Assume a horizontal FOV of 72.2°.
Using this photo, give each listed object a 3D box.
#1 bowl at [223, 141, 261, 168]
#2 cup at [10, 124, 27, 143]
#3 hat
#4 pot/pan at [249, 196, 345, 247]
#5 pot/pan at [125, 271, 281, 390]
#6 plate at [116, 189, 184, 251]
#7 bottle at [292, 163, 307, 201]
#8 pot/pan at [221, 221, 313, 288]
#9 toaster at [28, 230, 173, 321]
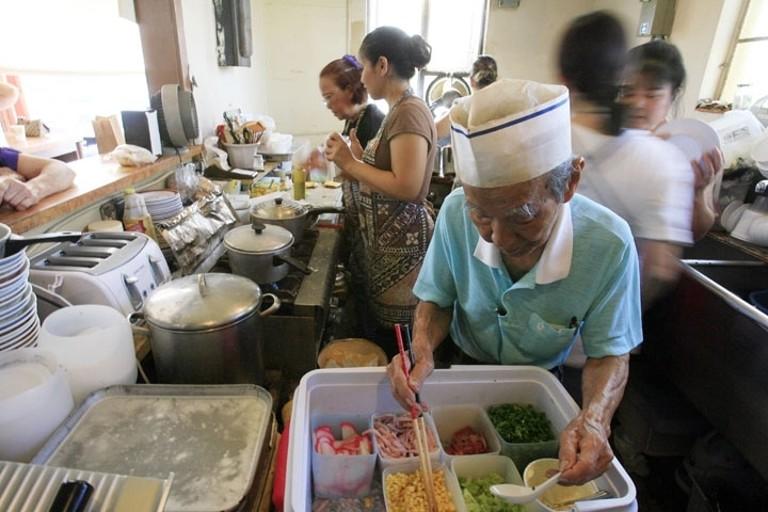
[{"bbox_3d":[-1.097,-0.788,4.049,0.211,0.158,0.207,1,26,0],"label":"bowl"},{"bbox_3d":[-4.000,-1.353,5.740,0.136,0.168,0.297,-19,30,-31],"label":"cup"},{"bbox_3d":[0.449,-0.420,2.032,0.415,0.275,0.417,7,34,39],"label":"hat"},{"bbox_3d":[-0.513,-0.236,3.070,0.492,0.195,0.302,9,22,5],"label":"pot/pan"},{"bbox_3d":[-0.728,0.276,2.249,0.588,0.497,0.430,-2,20,-6],"label":"pot/pan"},{"bbox_3d":[-1.241,-0.236,2.849,0.340,0.335,0.255,13,25,24],"label":"plate"},{"bbox_3d":[-0.600,-0.524,3.707,0.091,0.220,0.185,-5,25,-6],"label":"bottle"},{"bbox_3d":[-0.570,-0.014,2.556,0.451,0.195,0.253,28,37,32],"label":"pot/pan"},{"bbox_3d":[-1.257,0.134,2.308,0.406,0.214,0.408,7,29,4],"label":"toaster"}]
